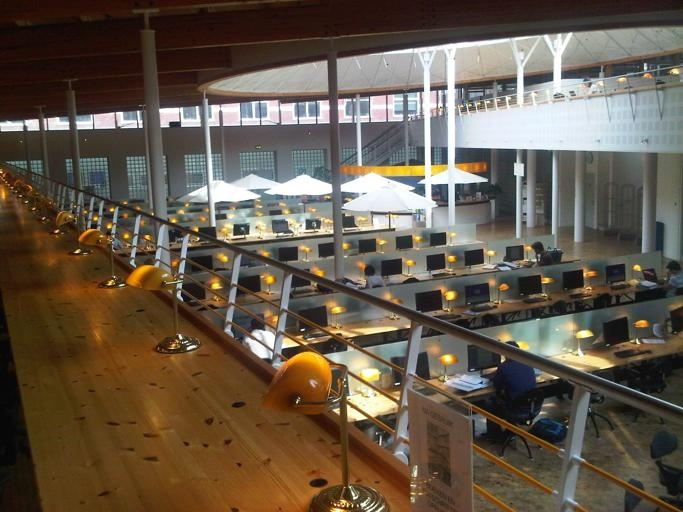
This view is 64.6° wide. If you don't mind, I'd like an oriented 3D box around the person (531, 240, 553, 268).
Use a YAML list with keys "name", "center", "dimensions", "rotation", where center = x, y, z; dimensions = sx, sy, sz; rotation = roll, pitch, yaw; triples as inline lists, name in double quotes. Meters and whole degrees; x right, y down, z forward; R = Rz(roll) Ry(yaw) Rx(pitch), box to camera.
- name: "person"
  center: [5.452, -0.021, 14.729]
  dimensions: [0.722, 0.610, 0.452]
  rotation: [-30, 19, -34]

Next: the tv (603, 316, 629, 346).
- name: "tv"
  center: [4.805, 1.324, 9.454]
  dimensions: [0.752, 0.370, 0.072]
  rotation: [-4, 3, -29]
